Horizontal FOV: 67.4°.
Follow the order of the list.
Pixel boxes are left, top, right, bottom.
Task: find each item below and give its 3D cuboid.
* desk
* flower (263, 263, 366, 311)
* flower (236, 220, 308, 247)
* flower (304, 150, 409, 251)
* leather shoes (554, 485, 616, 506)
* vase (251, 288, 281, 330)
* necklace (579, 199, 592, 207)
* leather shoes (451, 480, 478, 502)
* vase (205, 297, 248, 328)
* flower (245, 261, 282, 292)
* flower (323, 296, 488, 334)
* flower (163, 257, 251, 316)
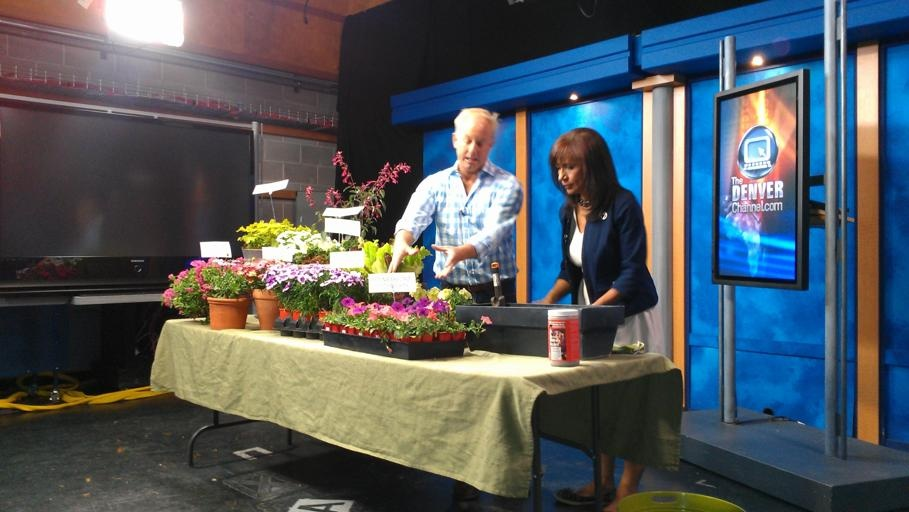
[{"bbox_3d":[-0.367,1.042,5.132,3.870,0.857,1.112,5,15,22],"label":"desk"},{"bbox_3d":[-1.076,0.175,5.200,0.474,0.253,0.512,2,0,-34],"label":"flower"},{"bbox_3d":[-1.659,-0.194,6.099,0.327,0.162,0.357,-2,2,-44],"label":"flower"},{"bbox_3d":[-0.750,-0.589,6.089,0.685,0.528,0.511,-9,18,12],"label":"flower"},{"bbox_3d":[1.085,1.920,5.380,0.568,0.144,0.209,3,-10,-2],"label":"leather shoes"},{"bbox_3d":[-1.527,0.429,5.515,0.328,0.333,0.315,-1,-2,7],"label":"vase"},{"bbox_3d":[1.010,-0.403,5.270,0.067,0.048,0.071,-1,-2,-22],"label":"necklace"},{"bbox_3d":[0.090,1.908,5.537,0.200,0.129,0.162,0,-6,11],"label":"leather shoes"},{"bbox_3d":[-1.854,0.464,5.563,0.289,0.187,0.278,0,-4,1],"label":"vase"},{"bbox_3d":[-1.553,0.160,5.504,0.273,0.155,0.266,2,3,18],"label":"flower"},{"bbox_3d":[-0.433,0.431,4.843,0.531,0.154,0.535,0,0,-42],"label":"flower"},{"bbox_3d":[-2.027,0.252,5.652,0.580,0.419,0.646,0,2,34],"label":"flower"}]
